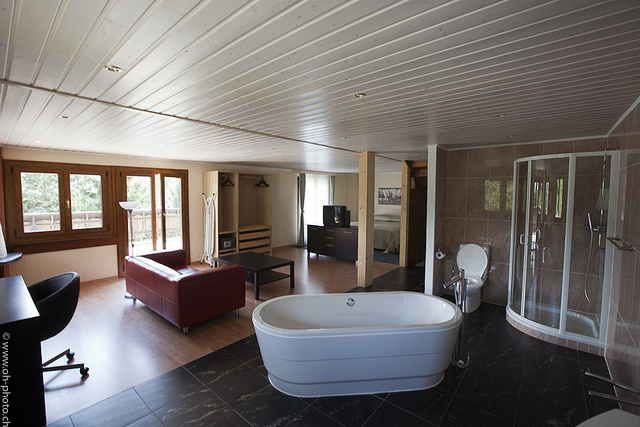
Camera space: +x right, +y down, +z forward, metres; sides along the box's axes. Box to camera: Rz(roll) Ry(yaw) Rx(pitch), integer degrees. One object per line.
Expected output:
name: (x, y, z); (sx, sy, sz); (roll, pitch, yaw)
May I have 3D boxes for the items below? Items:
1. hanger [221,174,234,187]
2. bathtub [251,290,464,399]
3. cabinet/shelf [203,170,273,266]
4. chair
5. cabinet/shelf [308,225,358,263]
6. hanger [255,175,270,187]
hanger: (-2.140, -0.786, 9.088); (0.374, 0.291, 0.127); (3, 5, 44)
bathtub: (0.444, 1.479, 4.560); (2.375, 0.930, 0.906); (0, 3, -3)
cabinet/shelf: (-1.923, 0.090, 8.970); (0.659, 2.497, 2.260); (2, 3, 34)
chair: (-3.021, 1.295, 4.525); (0.495, 1.113, 1.047); (-3, 4, -38)
cabinet/shelf: (0.114, 0.743, 9.203); (1.670, 0.767, 0.549); (11, -14, -41)
hanger: (-1.456, -0.837, 9.932); (0.288, 0.367, 0.279); (0, 4, -10)
